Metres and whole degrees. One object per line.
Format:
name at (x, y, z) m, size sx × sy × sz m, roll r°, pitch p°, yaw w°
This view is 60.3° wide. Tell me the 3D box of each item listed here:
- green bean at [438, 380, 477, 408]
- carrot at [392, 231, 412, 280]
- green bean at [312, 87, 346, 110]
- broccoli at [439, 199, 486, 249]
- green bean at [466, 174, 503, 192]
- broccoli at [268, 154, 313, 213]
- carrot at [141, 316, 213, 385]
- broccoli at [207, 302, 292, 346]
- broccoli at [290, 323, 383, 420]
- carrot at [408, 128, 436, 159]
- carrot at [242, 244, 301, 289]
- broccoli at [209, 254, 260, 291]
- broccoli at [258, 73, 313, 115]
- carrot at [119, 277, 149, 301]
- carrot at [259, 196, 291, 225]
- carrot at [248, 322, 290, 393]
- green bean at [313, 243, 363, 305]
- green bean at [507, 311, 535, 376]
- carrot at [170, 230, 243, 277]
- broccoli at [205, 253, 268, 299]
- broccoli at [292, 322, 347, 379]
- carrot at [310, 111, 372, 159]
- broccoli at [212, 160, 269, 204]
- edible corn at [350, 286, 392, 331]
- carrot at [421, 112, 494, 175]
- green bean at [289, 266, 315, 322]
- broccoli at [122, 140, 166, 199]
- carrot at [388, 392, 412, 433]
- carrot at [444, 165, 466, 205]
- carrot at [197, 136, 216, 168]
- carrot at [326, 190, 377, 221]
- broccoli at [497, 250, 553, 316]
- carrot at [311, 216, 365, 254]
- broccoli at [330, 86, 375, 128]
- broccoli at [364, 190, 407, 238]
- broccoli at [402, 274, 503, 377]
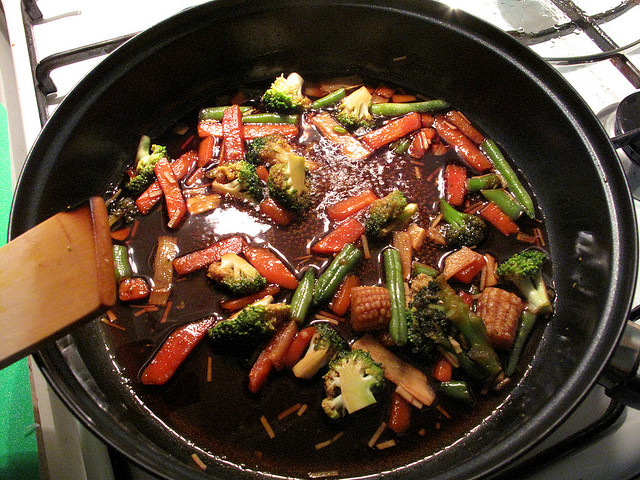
green bean at (0.689, 0.777, 2.782) m, size 0.190 × 0.081 × 0.108 m, roll 8°, pitch 92°, yaw -1°
carrot at (0.459, 0.067, 3.015) m, size 0.122 × 0.065 × 0.319 m, roll -10°, pitch 41°, yaw 9°
green bean at (0.054, -0.849, 3.340) m, size 0.223 × 0.051 × 0.056 m, roll -29°, pitch 35°, yaw -6°
broccoli at (0.767, -0.071, 3.009) m, size 0.167 × 0.107 × 0.245 m, roll -27°, pitch 67°, yaw -6°
green bean at (0.929, -0.324, 3.126) m, size 0.177 × 0.061 × 0.086 m, roll -10°, pitch 89°, yaw -4°
broccoli at (-0.170, -0.297, 3.025) m, size 0.259 × 0.122 × 0.290 m, roll 8°, pitch 71°, yaw -36°
carrot at (-0.715, 0.557, 2.927) m, size 0.163 × 0.088 × 0.501 m, roll 41°, pitch 83°, yaw 13°
broccoli at (-0.345, 0.435, 2.787) m, size 0.293 × 0.233 × 0.112 m, roll -25°, pitch 82°, yaw 34°
broccoli at (0.067, 0.640, 2.825) m, size 0.408 × 0.182 × 0.521 m, roll -31°, pitch 68°, yaw -21°
carrot at (0.582, -0.557, 3.223) m, size 0.106 × 0.048 × 0.206 m, roll 20°, pitch 73°, yaw 18°
carrot at (-0.300, 0.125, 3.035) m, size 0.384 × 0.089 × 0.190 m, roll 25°, pitch 41°, yaw 34°
broccoli at (-0.458, 0.202, 3.020) m, size 0.247 × 0.308 × 0.072 m, roll 24°, pitch 86°, yaw -1°
broccoli at (-0.203, -0.854, 3.248) m, size 0.237 × 0.153 × 0.272 m, roll 12°, pitch 48°, yaw 10°
carrot at (-0.993, 0.261, 2.930) m, size 0.155 × 0.032 × 0.112 m, roll -10°, pitch 83°, yaw -2°
carrot at (-0.250, -0.157, 3.051) m, size 0.102 × 0.064 × 0.182 m, roll -43°, pitch 81°, yaw -9°
carrot at (-0.291, 0.622, 2.850) m, size 0.101 × 0.089 × 0.423 m, roll 11°, pitch 65°, yaw 40°
green bean at (0.084, 0.173, 2.969) m, size 0.137 × 0.103 × 0.432 m, roll 35°, pitch 71°, yaw 18°
green bean at (1.049, 0.529, 2.931) m, size 0.098 × 0.099 × 0.386 m, roll 18°, pitch 77°, yaw 13°
carrot at (-0.542, 0.061, 3.013) m, size 0.122 × 0.033 × 0.380 m, roll 15°, pitch 34°, yaw 24°
broccoli at (-0.441, 0.230, 3.009) m, size 0.274 × 0.358 × 0.117 m, roll 30°, pitch 101°, yaw 28°
broccoli at (-0.010, 0.589, 2.899) m, size 0.214 × 0.148 × 0.269 m, roll 44°, pitch 79°, yaw 9°
carrot at (0.112, -0.598, 3.245) m, size 0.134 × 0.084 × 0.415 m, roll -44°, pitch 85°, yaw -6°
broccoli at (-0.437, -0.298, 3.047) m, size 0.274 × 0.153 × 0.235 m, roll -11°, pitch 72°, yaw -9°
edible corn at (0.274, 0.366, 2.891) m, size 0.205 × 0.209 × 0.186 m, roll -12°, pitch 46°, yaw -3°
carrot at (0.805, -0.549, 3.238) m, size 0.122 × 0.125 × 0.513 m, roll -32°, pitch 68°, yaw -17°
green bean at (-0.090, 0.293, 2.955) m, size 0.083 × 0.083 × 0.304 m, roll 12°, pitch 73°, yaw 17°
broccoli at (-1.046, -0.422, 3.165) m, size 0.144 × 0.280 × 0.377 m, roll 5°, pitch 75°, yaw 2°
carrot at (0.399, 0.863, 2.760) m, size 0.096 × 0.062 × 0.186 m, roll 2°, pitch 70°, yaw 1°
carrot at (0.767, -0.318, 3.129) m, size 0.117 × 0.051 × 0.211 m, roll 1°, pitch 69°, yaw 0°
carrot at (-0.665, -0.513, 3.209) m, size 0.107 × 0.044 × 0.172 m, roll 9°, pitch 75°, yaw 8°
carrot at (0.180, -0.194, 3.108) m, size 0.271 × 0.072 × 0.130 m, roll -30°, pitch 51°, yaw -5°
broccoli at (1.124, 0.203, 3.011) m, size 0.273 × 0.290 × 0.318 m, roll -18°, pitch 105°, yaw -3°
carrot at (0.101, 0.013, 3.036) m, size 0.278 × 0.065 × 0.147 m, roll -40°, pitch 57°, yaw -3°
broccoli at (0.201, -0.753, 3.307) m, size 0.221 × 0.081 × 0.239 m, roll 3°, pitch 77°, yaw -3°
broccoli at (0.341, -0.141, 3.013) m, size 0.262 × 0.097 × 0.168 m, roll -37°, pitch 89°, yaw -10°
broccoli at (0.673, 0.453, 2.939) m, size 0.360 × 0.205 × 0.620 m, roll -31°, pitch 76°, yaw -7°
